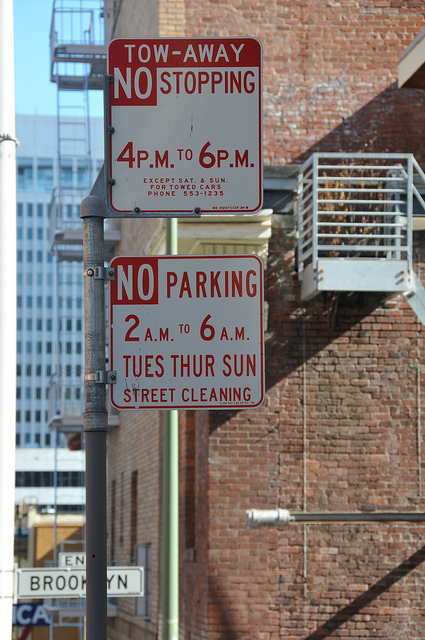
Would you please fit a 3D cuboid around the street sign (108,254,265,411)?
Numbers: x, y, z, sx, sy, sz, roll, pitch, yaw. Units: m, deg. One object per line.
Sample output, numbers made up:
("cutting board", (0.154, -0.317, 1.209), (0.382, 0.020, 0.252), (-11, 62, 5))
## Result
("street sign", (-0.215, 0.098, 16.572), (1.280, 1.276, 0.268), (-2, 5, -3))
